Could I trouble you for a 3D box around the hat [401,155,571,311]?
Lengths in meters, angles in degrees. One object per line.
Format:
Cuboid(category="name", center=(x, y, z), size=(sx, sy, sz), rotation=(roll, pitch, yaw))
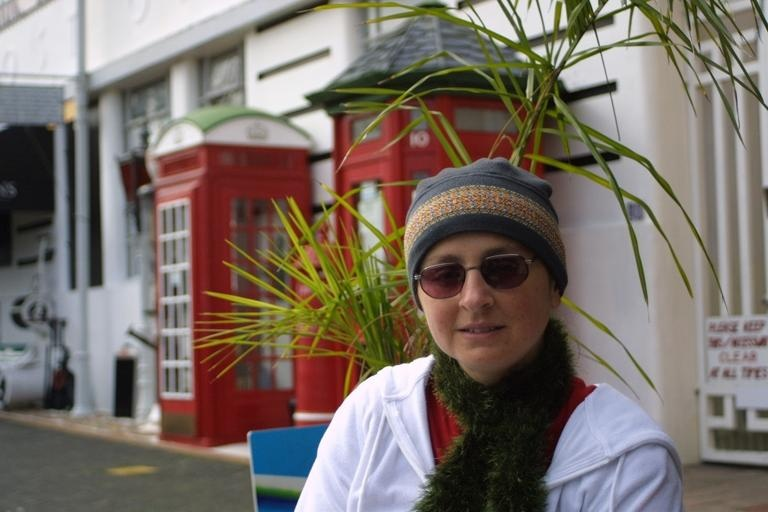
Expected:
Cuboid(category="hat", center=(0.439, -0.087, 3.558), size=(0.524, 0.563, 0.580), rotation=(0, -31, 9))
